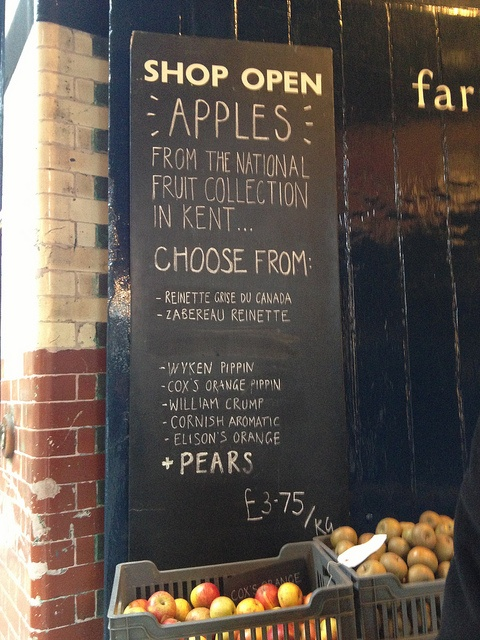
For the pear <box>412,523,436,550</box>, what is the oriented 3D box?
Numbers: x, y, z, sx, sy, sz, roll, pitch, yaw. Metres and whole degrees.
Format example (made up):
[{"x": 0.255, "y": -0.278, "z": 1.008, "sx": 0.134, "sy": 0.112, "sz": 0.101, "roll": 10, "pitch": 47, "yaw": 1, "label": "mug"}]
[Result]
[{"x": 0.569, "y": 0.673, "z": 2.492, "sx": 0.048, "sy": 0.085, "sz": 0.062, "roll": -1, "pitch": -10, "yaw": -12, "label": "pear"}]

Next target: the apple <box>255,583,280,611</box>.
[{"x": 0.086, "y": 0.838, "z": 2.435, "sx": 0.044, "sy": 0.071, "sz": 0.056, "roll": 13, "pitch": -23, "yaw": 1, "label": "apple"}]

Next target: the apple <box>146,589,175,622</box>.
[{"x": -0.229, "y": 0.841, "z": 2.370, "sx": 0.050, "sy": 0.092, "sz": 0.072, "roll": -4, "pitch": -16, "yaw": 4, "label": "apple"}]

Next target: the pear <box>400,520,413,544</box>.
[{"x": 0.525, "y": 0.672, "z": 2.555, "sx": 0.030, "sy": 0.060, "sz": 0.041, "roll": 5, "pitch": -21, "yaw": -2, "label": "pear"}]

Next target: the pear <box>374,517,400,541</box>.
[{"x": 0.470, "y": 0.666, "z": 2.580, "sx": 0.048, "sy": 0.067, "sz": 0.054, "roll": 2, "pitch": -28, "yaw": 47, "label": "pear"}]

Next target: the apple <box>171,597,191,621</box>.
[{"x": -0.172, "y": 0.867, "z": 2.404, "sx": 0.035, "sy": 0.068, "sz": 0.048, "roll": 9, "pitch": -28, "yaw": -1, "label": "apple"}]
